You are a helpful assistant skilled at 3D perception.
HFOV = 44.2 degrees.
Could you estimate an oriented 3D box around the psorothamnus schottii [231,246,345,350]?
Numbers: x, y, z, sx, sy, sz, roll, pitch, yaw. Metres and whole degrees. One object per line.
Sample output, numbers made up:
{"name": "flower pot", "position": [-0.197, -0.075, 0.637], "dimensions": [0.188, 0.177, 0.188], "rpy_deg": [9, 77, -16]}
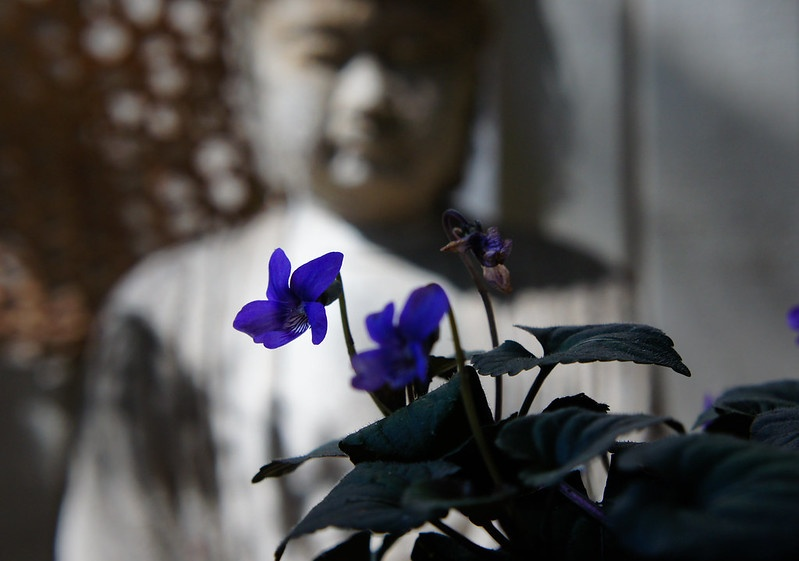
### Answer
{"name": "psorothamnus schottii", "position": [-0.250, 0.040, 2.274], "dimensions": [0.261, 0.095, 0.300], "rpy_deg": [-32, 33, -12]}
